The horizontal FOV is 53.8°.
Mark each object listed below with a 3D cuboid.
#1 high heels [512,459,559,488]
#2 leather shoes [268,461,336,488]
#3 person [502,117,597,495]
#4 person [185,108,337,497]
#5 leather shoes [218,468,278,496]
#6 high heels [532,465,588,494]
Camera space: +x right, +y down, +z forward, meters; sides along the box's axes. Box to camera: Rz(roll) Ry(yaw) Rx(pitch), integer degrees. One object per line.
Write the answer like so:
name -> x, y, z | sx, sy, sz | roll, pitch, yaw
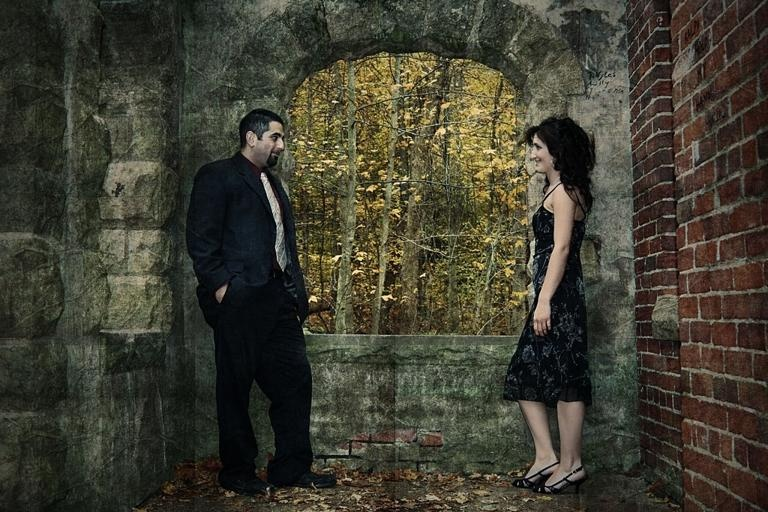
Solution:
high heels -> 0.870, 1.322, 4.459 | 0.331, 0.122, 0.124 | -32, 10, 36
leather shoes -> -0.490, 1.315, 4.541 | 0.450, 0.201, 0.159 | 1, -5, -17
person -> 0.952, 0.288, 4.361 | 0.465, 2.158, 0.309 | -2, -7, 28
person -> -0.737, 0.244, 4.422 | 0.840, 2.254, 0.360 | 3, -6, -17
leather shoes -> -0.783, 1.319, 4.396 | 0.327, 0.140, 0.129 | 0, -3, 11
high heels -> 1.019, 1.293, 4.331 | 0.355, 0.186, 0.124 | -1, -13, 10
